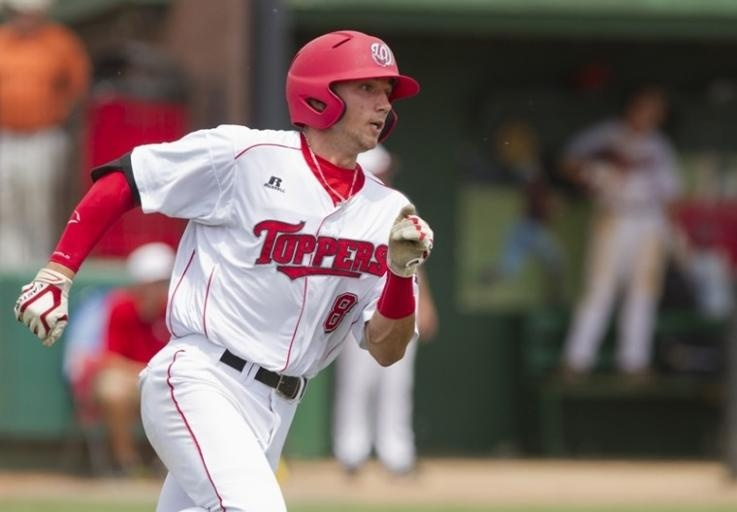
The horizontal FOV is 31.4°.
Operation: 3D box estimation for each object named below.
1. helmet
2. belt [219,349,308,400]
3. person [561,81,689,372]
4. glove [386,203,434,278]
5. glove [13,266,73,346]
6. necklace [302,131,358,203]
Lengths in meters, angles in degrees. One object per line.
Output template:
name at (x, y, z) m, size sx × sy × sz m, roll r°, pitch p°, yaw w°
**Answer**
helmet at (-0.100, -0.844, 6.316) m, size 0.639 × 0.457 × 0.507 m, roll 2°, pitch 2°, yaw 15°
belt at (-0.487, 0.562, 6.046) m, size 0.315 × 0.119 × 0.226 m, roll 25°, pitch -10°, yaw -7°
person at (1.636, -0.156, 8.616) m, size 0.695 × 1.812 × 0.461 m, roll -1°, pitch 10°, yaw -5°
glove at (0.171, -0.066, 5.919) m, size 0.136 × 0.286 × 0.240 m, roll -21°, pitch 55°, yaw -40°
glove at (-1.473, 0.236, 6.046) m, size 0.299 × 0.323 × 0.137 m, roll 33°, pitch -12°, yaw -2°
necklace at (-0.158, -0.411, 6.139) m, size 0.075 × 0.285 × 0.229 m, roll -24°, pitch -5°, yaw 31°
